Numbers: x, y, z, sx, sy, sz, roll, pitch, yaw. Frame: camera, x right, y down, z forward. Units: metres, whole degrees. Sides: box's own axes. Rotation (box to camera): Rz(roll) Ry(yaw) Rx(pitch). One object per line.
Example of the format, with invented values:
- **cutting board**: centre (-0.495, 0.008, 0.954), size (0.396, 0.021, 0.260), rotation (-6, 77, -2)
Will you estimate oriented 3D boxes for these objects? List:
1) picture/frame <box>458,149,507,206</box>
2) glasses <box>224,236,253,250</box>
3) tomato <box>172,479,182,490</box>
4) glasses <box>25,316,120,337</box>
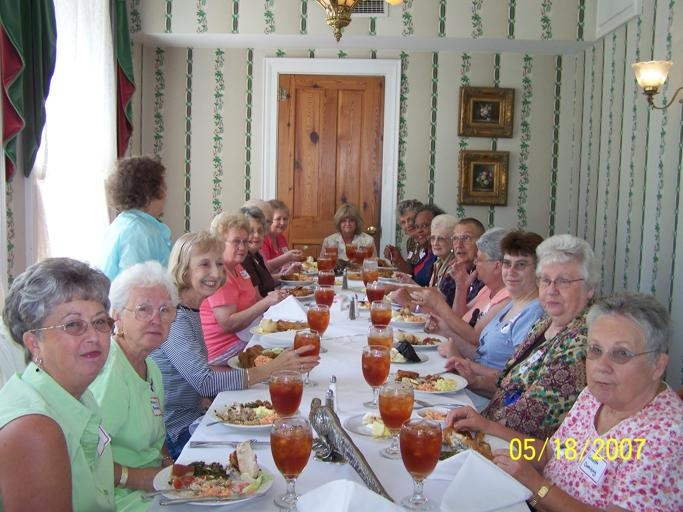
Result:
- **picture/frame**: centre (1.593, -0.908, 6.418), size (0.521, 0.646, 0.064), rotation (1, 4, 0)
- **glasses**: centre (-0.629, -0.083, 3.427), size (0.137, 0.051, 0.136), rotation (-9, -9, 40)
- **tomato**: centre (-0.436, 0.603, 1.514), size (0.018, 0.024, 0.020), rotation (15, -26, 1)
- **glasses**: centre (-0.743, 0.193, 1.577), size (0.210, 0.054, 0.074), rotation (-3, 7, -30)
